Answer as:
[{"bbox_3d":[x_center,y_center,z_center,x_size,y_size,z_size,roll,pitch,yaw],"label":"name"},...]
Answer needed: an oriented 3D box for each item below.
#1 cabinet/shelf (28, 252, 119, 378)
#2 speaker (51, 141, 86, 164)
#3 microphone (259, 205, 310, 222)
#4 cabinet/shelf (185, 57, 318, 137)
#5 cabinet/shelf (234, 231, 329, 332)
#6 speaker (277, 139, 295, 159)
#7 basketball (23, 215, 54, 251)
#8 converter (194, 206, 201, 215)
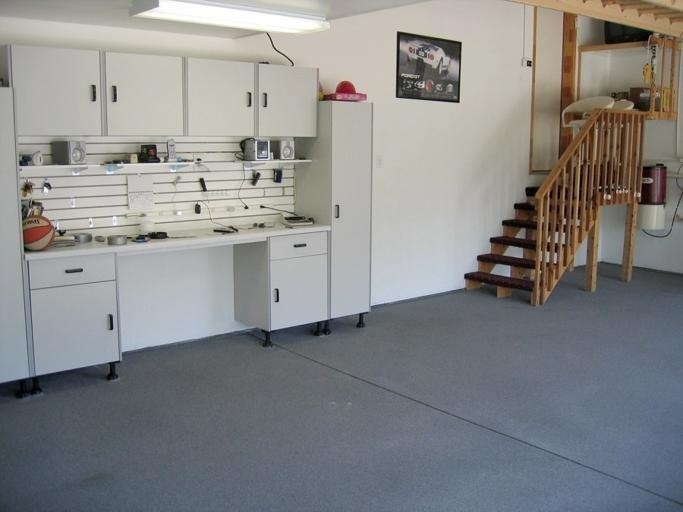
[{"bbox_3d":[-2.420,0.468,4.561,0.631,0.958,0.675,1,4,43],"label":"cabinet/shelf"},{"bbox_3d":[-2.328,-0.862,4.521,0.234,0.219,0.229,2,4,19],"label":"speaker"},{"bbox_3d":[-0.548,-0.438,5.728,0.424,0.158,0.236,10,12,42],"label":"microphone"},{"bbox_3d":[-0.873,-1.537,5.148,1.281,0.680,0.265,-5,12,-21],"label":"cabinet/shelf"},{"bbox_3d":[-0.645,0.224,5.655,0.770,1.014,0.684,-5,6,-37],"label":"cabinet/shelf"},{"bbox_3d":[-0.582,-1.129,5.517,0.168,0.218,0.187,-2,12,-10],"label":"speaker"},{"bbox_3d":[-2.490,-0.181,4.277,0.160,0.195,0.170,26,31,-9],"label":"basketball"},{"bbox_3d":[-1.462,-0.470,5.336,0.074,0.113,0.045,-9,14,-37],"label":"converter"}]
